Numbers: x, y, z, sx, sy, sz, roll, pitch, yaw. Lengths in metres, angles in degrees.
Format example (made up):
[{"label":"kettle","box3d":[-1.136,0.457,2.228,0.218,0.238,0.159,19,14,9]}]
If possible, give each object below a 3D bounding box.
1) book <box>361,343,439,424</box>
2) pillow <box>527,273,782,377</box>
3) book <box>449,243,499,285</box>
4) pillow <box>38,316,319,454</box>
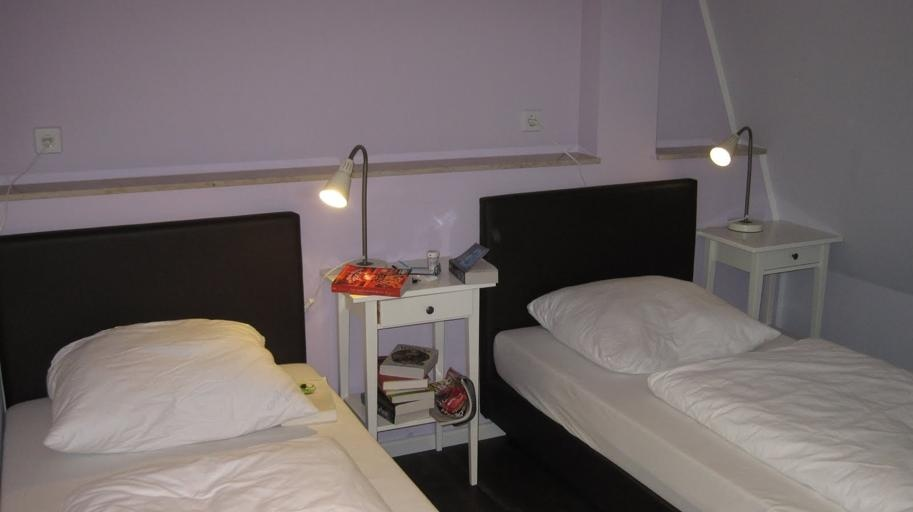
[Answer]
[{"label":"book","box3d":[-0.304,0.693,3.465,0.389,0.237,0.492,-1,22,-1]},{"label":"pillow","box3d":[1.104,0.368,3.340,0.748,0.201,0.723,-7,15,-25]},{"label":"book","box3d":[0.099,0.044,3.467,0.228,0.161,0.307,-2,12,-13]},{"label":"pillow","box3d":[-1.305,0.615,2.816,0.764,0.224,0.765,-8,16,-26]}]
